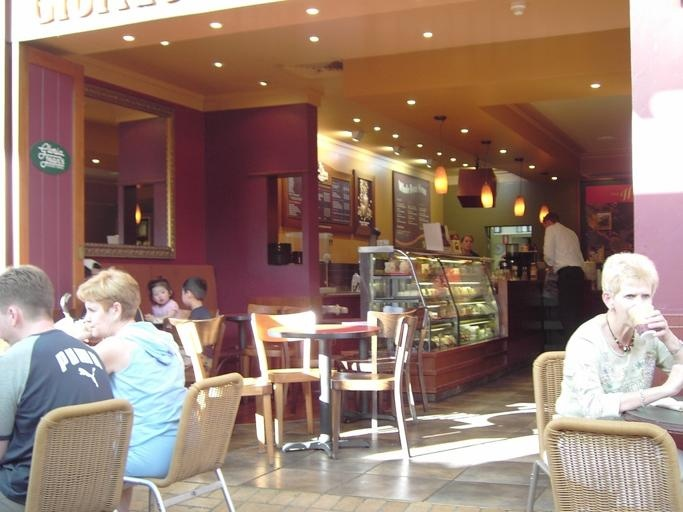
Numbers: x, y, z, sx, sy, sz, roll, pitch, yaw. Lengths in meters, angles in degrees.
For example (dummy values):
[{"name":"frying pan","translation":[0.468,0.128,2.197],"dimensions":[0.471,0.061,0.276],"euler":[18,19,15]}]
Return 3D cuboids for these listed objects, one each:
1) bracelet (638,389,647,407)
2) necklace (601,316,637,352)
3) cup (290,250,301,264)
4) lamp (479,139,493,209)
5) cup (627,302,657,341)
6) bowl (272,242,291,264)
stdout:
[{"name":"bracelet","translation":[1.020,0.473,1.936],"dimensions":[0.015,0.040,0.033],"euler":[2,1,-3]},{"name":"necklace","translation":[1.007,0.299,2.138],"dimensions":[0.033,0.124,0.123],"euler":[-33,-25,30]},{"name":"cup","translation":[-0.649,0.021,8.381],"dimensions":[0.166,0.159,0.149],"euler":[1,4,6]},{"name":"lamp","translation":[2.613,-1.458,10.268],"dimensions":[0.215,1.185,0.653],"euler":[-2,-3,14]},{"name":"cup","translation":[1.039,0.233,2.031],"dimensions":[0.104,0.112,0.104],"euler":[6,-44,6]},{"name":"bowl","translation":[-0.875,-0.028,8.405],"dimensions":[0.309,0.308,0.137],"euler":[0,-3,-9]}]
